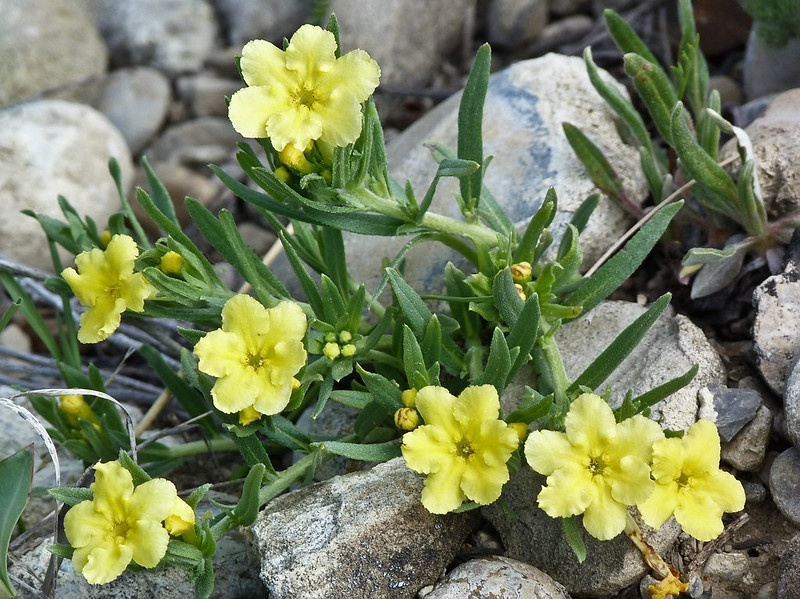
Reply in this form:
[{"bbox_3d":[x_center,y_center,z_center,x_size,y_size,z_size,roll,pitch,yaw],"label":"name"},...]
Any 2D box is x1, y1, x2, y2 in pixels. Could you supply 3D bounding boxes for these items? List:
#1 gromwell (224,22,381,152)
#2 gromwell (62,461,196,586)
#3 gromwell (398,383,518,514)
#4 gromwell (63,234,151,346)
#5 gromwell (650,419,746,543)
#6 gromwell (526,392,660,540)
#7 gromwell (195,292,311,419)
[{"bbox_3d":[-0.330,-0.782,3.043,0.451,0.513,0.144,-9,70,25],"label":"gromwell"},{"bbox_3d":[-0.962,0.747,2.921,0.135,0.473,0.503,12,84,30],"label":"gromwell"},{"bbox_3d":[0.210,0.518,2.895,0.400,0.184,0.415,-9,71,2],"label":"gromwell"},{"bbox_3d":[-1.123,-0.028,3.181,0.347,0.256,0.345,-17,70,-1],"label":"gromwell"},{"bbox_3d":[1.005,0.645,2.841,0.321,0.101,0.435,-14,47,24],"label":"gromwell"},{"bbox_3d":[0.657,0.557,2.838,0.422,0.571,0.152,7,22,10],"label":"gromwell"},{"bbox_3d":[-0.554,0.231,2.955,0.385,0.150,0.496,3,46,-6],"label":"gromwell"}]
